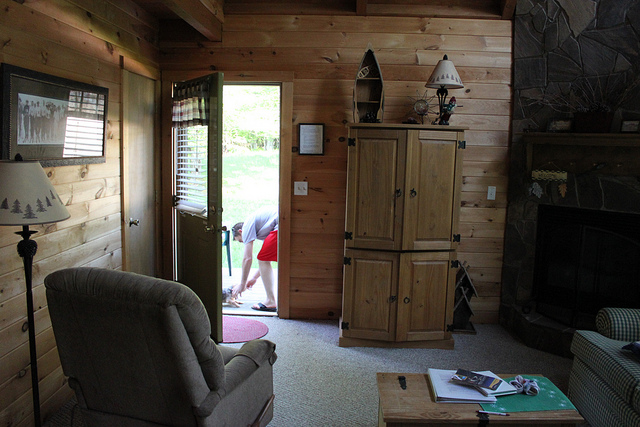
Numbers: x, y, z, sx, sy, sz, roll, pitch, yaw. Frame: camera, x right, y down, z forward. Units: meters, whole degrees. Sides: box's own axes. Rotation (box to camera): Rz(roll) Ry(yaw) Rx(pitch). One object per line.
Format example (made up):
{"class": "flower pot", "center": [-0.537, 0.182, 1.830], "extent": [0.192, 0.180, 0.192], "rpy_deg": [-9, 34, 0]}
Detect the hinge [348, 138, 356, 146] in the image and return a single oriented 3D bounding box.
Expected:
{"class": "hinge", "center": [0.301, -0.667, 4.293], "extent": [0.082, 0.070, 0.019], "rpy_deg": [4, 6, 10]}

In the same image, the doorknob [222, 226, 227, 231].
{"class": "doorknob", "center": [-0.892, 0.144, 4.251], "extent": [0.035, 0.049, 0.057], "rpy_deg": [0, 6, -9]}

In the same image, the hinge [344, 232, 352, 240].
{"class": "hinge", "center": [0.268, 0.219, 4.390], "extent": [0.074, 0.066, 0.026], "rpy_deg": [4, 7, 24]}

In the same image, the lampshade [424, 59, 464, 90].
{"class": "lampshade", "center": [1.247, -1.387, 4.415], "extent": [0.349, 0.238, 0.351], "rpy_deg": [6, 27, 34]}

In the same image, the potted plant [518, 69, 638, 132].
{"class": "potted plant", "center": [2.561, -1.040, 4.483], "extent": [0.666, 0.341, 0.616], "rpy_deg": [-3, 5, 2]}

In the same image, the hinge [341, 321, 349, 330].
{"class": "hinge", "center": [0.248, 1.101, 4.479], "extent": [0.065, 0.059, 0.062], "rpy_deg": [1, 0, -6]}

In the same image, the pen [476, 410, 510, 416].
{"class": "pen", "center": [1.088, 1.262, 2.893], "extent": [0.191, 0.011, 0.029], "rpy_deg": [2, 6, 9]}

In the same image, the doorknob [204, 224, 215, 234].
{"class": "doorknob", "center": [-1.028, 0.162, 4.290], "extent": [0.100, 0.055, 0.053], "rpy_deg": [0, 9, 31]}

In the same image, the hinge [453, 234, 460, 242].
{"class": "hinge", "center": [1.329, 0.237, 4.421], "extent": [0.045, 0.075, 0.131], "rpy_deg": [5, 7, 35]}

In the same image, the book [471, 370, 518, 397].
{"class": "book", "center": [1.162, 1.154, 3.110], "extent": [0.249, 0.081, 0.236], "rpy_deg": [-1, 6, -23]}

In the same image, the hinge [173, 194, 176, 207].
{"class": "hinge", "center": [-1.556, -0.130, 4.867], "extent": [0.038, 0.132, 0.024], "rpy_deg": [3, 6, 17]}

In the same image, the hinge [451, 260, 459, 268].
{"class": "hinge", "center": [1.300, 0.489, 4.404], "extent": [0.069, 0.061, 0.016], "rpy_deg": [2, -1, 1]}

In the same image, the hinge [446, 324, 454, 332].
{"class": "hinge", "center": [1.284, 1.137, 4.517], "extent": [0.091, 0.079, 0.027], "rpy_deg": [2, 0, -2]}

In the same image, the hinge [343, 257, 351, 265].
{"class": "hinge", "center": [0.264, 0.460, 4.414], "extent": [0.084, 0.073, 0.019], "rpy_deg": [3, -2, 3]}

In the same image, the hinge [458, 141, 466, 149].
{"class": "hinge", "center": [1.343, -0.638, 4.349], "extent": [0.099, 0.083, 0.023], "rpy_deg": [1, 2, -3]}
